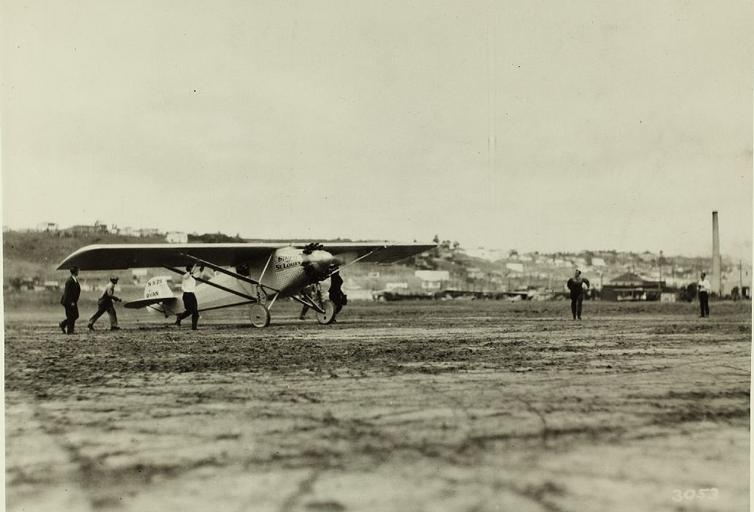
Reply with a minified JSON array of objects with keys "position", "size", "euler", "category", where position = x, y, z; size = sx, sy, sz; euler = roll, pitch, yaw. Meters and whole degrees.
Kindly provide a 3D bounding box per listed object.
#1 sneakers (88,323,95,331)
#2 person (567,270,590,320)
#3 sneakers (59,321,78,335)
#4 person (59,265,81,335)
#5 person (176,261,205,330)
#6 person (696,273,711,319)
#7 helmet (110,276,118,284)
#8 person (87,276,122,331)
[{"position":[-5.867,1.440,18.283],"size":[0.074,0.194,0.327],"euler":[-1,9,-8],"category":"sneakers"},{"position":[4.413,0.877,19.628],"size":[0.470,1.285,0.974],"euler":[2,9,14],"category":"person"},{"position":[-6.171,1.406,17.848],"size":[0.231,0.346,0.297],"euler":[-5,-3,24],"category":"sneakers"},{"position":[-6.110,0.871,17.660],"size":[0.408,1.396,0.522],"euler":[-3,9,-22],"category":"person"},{"position":[-4.057,0.850,19.195],"size":[0.556,1.495,0.930],"euler":[-2,9,-16],"category":"person"},{"position":[6.954,0.867,19.042],"size":[0.281,1.044,0.666],"euler":[3,9,21],"category":"person"},{"position":[-5.443,0.490,18.400],"size":[0.101,0.123,0.129],"euler":[3,7,1],"category":"helmet"},{"position":[-5.565,1.024,18.362],"size":[0.434,1.142,0.838],"euler":[4,10,23],"category":"person"}]
